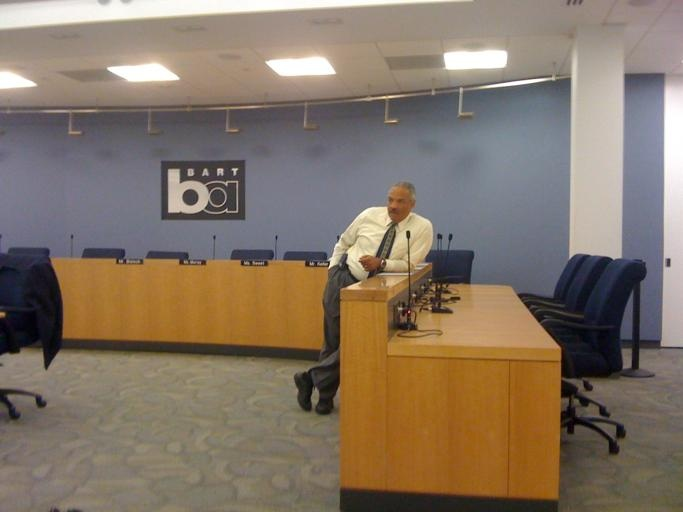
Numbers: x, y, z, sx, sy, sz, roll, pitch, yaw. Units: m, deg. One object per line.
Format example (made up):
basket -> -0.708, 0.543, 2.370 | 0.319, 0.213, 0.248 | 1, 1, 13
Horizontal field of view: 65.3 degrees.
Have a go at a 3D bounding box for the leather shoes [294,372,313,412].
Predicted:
leather shoes -> -0.294, 1.046, 4.171 | 0.144, 0.339, 0.111 | 2, -5, -20

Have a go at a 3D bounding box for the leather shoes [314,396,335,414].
leather shoes -> -0.135, 1.167, 4.138 | 0.076, 0.112, 0.171 | -2, -13, 11

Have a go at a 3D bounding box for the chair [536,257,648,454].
chair -> 1.763, 0.665, 4.060 | 0.866, 1.298, 0.807 | 0, -1, 22

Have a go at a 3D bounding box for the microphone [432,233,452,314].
microphone -> 0.879, 0.065, 4.621 | 0.170, 0.625, 0.134 | 3, -23, 10

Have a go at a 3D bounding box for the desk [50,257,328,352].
desk -> -1.670, 0.570, 6.166 | 2.978, 1.065, 0.833 | 1, -1, 5

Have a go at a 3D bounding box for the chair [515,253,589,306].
chair -> 2.018, 0.228, 5.128 | 0.506, 0.601, 0.355 | 12, 4, 3

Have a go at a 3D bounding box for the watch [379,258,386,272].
watch -> 0.298, 0.064, 3.824 | 0.052, 0.077, 0.075 | 3, 2, 0

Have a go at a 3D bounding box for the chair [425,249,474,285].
chair -> 1.189, 0.103, 5.781 | 0.394, 0.598, 0.491 | 0, -7, 13
